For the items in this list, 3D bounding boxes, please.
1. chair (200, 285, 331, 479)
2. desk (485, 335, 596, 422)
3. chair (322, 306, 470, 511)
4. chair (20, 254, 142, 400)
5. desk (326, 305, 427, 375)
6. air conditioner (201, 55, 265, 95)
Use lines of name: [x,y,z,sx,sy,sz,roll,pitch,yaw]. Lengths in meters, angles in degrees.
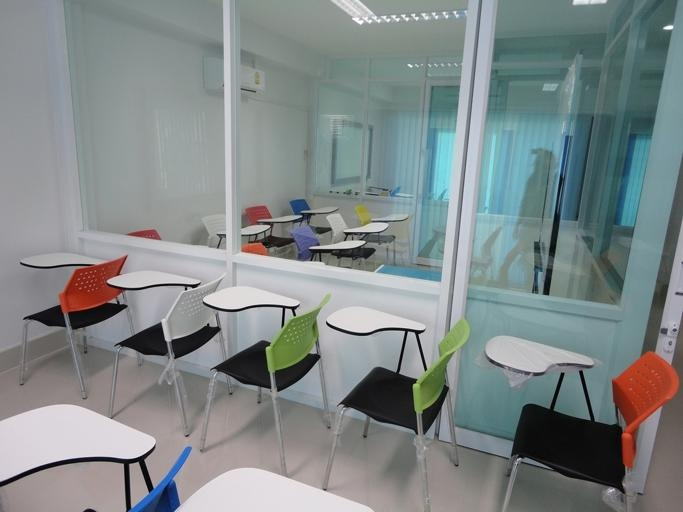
chair: [-0.458,0.743,3.088,0.640,1.037,0.504,8,16,23]
desk: [1.081,0.589,2.855,0.610,0.667,0.411,2,27,13]
chair: [0.325,0.855,2.935,0.833,1.069,0.709,6,16,17]
chair: [-2.057,0.549,3.740,0.607,1.061,0.594,20,20,7]
desk: [0.211,0.672,3.052,0.589,0.636,0.405,5,24,6]
air conditioner: [-0.755,-1.299,3.499,0.270,0.175,0.206,8,21,2]
